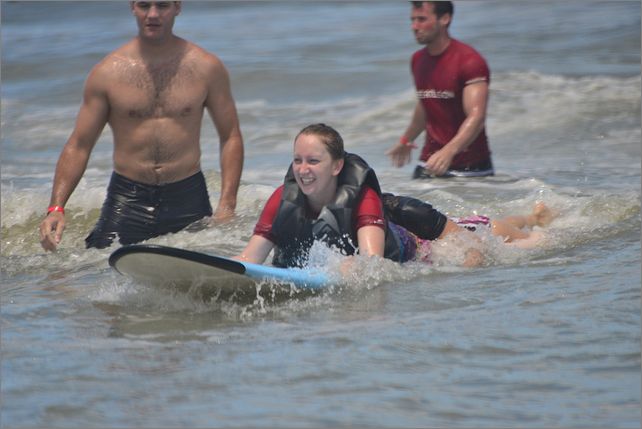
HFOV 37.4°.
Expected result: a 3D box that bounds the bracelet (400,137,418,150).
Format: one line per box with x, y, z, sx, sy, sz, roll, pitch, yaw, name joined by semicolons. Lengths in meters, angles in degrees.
1.047;-0.849;11.238;0.209;0.045;0.146;20;6;-38;bracelet
